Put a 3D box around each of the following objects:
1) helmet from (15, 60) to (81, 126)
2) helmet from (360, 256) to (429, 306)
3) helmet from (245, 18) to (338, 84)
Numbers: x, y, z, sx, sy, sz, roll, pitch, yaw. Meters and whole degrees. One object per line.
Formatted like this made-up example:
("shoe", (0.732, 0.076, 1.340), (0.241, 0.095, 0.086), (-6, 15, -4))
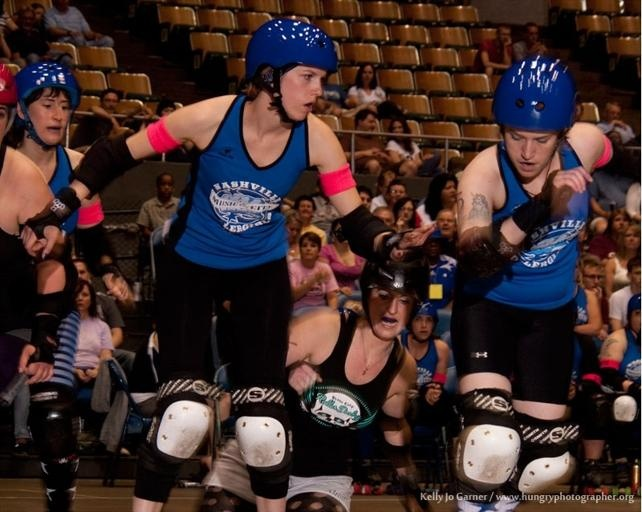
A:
("helmet", (-1.522, -0.911, 4.092), (0.332, 0.330, 0.270), (4, 17, -21))
("helmet", (0.372, 0.120, 3.710), (0.225, 0.280, 0.256), (13, 51, -17))
("helmet", (-0.144, -0.939, 3.392), (0.381, 0.219, 0.277), (2, 4, 21))
